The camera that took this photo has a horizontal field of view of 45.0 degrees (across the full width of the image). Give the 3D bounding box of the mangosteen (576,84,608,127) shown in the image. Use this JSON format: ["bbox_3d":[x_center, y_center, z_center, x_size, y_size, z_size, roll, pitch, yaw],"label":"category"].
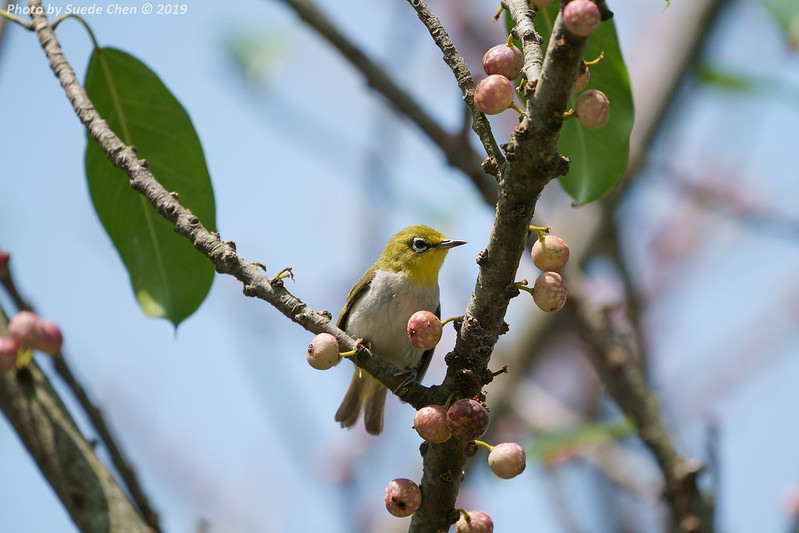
[{"bbox_3d":[0.926,-0.778,4.638,0.152,0.164,0.207,4,-77,8],"label":"mangosteen"}]

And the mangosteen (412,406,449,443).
[{"bbox_3d":[0.160,0.813,4.845,0.180,0.175,0.234,-10,-42,-2],"label":"mangosteen"}]

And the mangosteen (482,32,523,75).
[{"bbox_3d":[0.538,-1.035,4.771,0.175,0.177,0.257,-8,-77,-24],"label":"mangosteen"}]

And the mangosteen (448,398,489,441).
[{"bbox_3d":[0.332,0.752,4.744,0.184,0.180,0.173,-36,-47,26],"label":"mangosteen"}]

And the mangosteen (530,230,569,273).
[{"bbox_3d":[0.743,-0.081,4.860,0.164,0.222,0.214,-8,-41,-3],"label":"mangosteen"}]

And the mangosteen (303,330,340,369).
[{"bbox_3d":[-0.399,0.438,4.974,0.173,0.205,0.169,1,-5,38],"label":"mangosteen"}]
